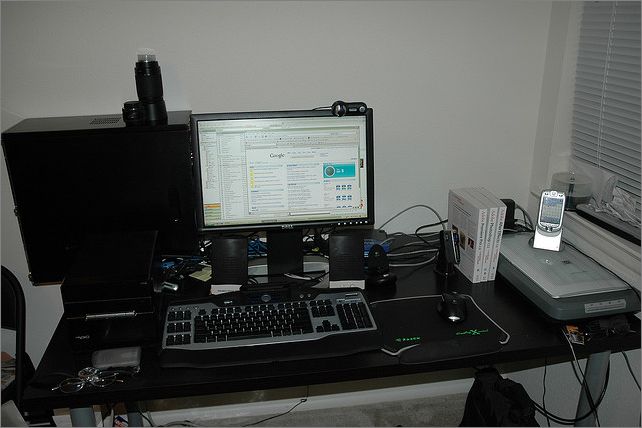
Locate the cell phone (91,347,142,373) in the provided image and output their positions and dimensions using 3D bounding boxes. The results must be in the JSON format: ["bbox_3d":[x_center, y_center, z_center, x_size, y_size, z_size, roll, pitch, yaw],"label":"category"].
[{"bbox_3d":[-0.728,0.519,1.763,0.152,0.037,0.074,-1,47,-8],"label":"cell phone"}]

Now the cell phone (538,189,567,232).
[{"bbox_3d":[0.965,-0.014,2.085,0.105,0.178,0.056,10,7,17],"label":"cell phone"}]

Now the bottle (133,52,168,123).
[{"bbox_3d":[-0.697,-0.495,2.007,0.102,0.238,0.115,-11,24,-17],"label":"bottle"}]

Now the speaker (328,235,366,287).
[{"bbox_3d":[0.114,0.204,2.085,0.165,0.199,0.116,-1,4,13],"label":"speaker"}]

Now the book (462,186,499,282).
[{"bbox_3d":[0.662,0.097,2.075,0.138,0.352,0.353,0,-7,-3],"label":"book"}]

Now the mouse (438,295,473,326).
[{"bbox_3d":[0.518,0.347,1.950,0.126,0.050,0.175,5,32,8],"label":"mouse"}]

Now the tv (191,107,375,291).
[{"bbox_3d":[-0.160,-0.073,2.038,0.787,0.747,0.262,-2,20,-5],"label":"tv"}]
